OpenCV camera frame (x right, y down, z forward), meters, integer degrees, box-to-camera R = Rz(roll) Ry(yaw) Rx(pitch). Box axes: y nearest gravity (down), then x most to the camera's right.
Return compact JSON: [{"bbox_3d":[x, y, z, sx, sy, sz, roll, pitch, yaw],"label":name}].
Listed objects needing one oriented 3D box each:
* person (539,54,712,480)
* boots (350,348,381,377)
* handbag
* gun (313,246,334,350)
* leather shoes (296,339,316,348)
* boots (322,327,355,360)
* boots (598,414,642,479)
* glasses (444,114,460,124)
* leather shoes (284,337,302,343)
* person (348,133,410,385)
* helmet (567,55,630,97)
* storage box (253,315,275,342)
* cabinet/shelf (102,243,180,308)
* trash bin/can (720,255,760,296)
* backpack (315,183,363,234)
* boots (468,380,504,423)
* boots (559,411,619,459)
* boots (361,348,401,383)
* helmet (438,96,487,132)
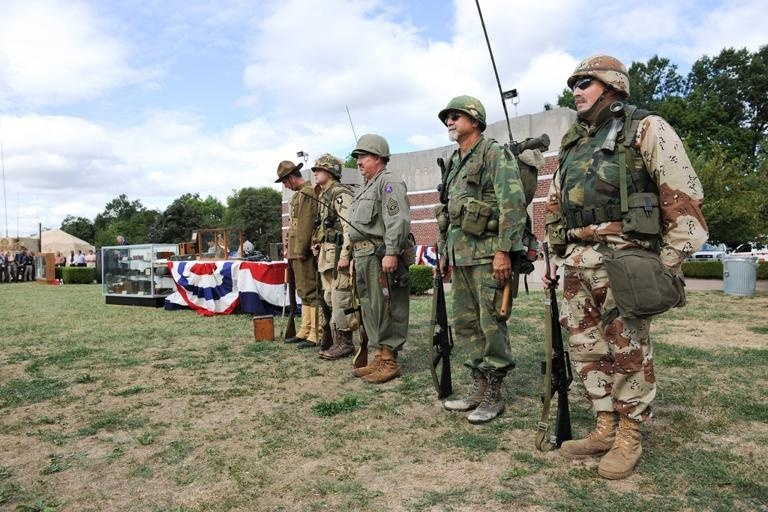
[{"bbox_3d":[2.200,0.034,5.488,1.368,3.871,0.684,0,4,27],"label":"person"},{"bbox_3d":[-0.101,1.427,7.741,0.592,0.404,0.194,12,-11,-43],"label":"boots"},{"bbox_3d":[2.443,0.149,5.338,0.359,0.679,0.643,-21,5,-41],"label":"handbag"},{"bbox_3d":[-0.897,0.585,8.756,0.110,1.539,0.296,8,-18,-44],"label":"gun"},{"bbox_3d":[-1.152,1.321,8.957,0.234,0.085,0.111,9,-10,-42],"label":"leather shoes"},{"bbox_3d":[-0.735,1.280,8.371,0.592,0.437,0.241,0,-8,-39],"label":"boots"},{"bbox_3d":[2.211,1.710,5.441,0.265,0.497,0.714,8,10,34],"label":"boots"},{"bbox_3d":[0.763,-1.512,6.475,0.100,0.081,0.141,-4,1,21],"label":"glasses"},{"bbox_3d":[-1.404,1.291,9.140,0.255,0.098,0.093,8,-8,-25],"label":"leather shoes"},{"bbox_3d":[-0.034,0.000,7.499,0.821,3.096,0.617,-1,4,8],"label":"person"},{"bbox_3d":[2.158,-1.791,5.813,0.607,0.400,0.564,-4,8,-21],"label":"helmet"},{"bbox_3d":[-1.902,1.100,9.410,0.338,0.426,0.426,-3,3,-16],"label":"storage box"},{"bbox_3d":[-6.111,0.474,14.686,1.532,1.324,0.856,0,1,11],"label":"cabinet/shelf"},{"bbox_3d":[8.710,0.499,14.262,0.882,0.909,0.767,4,-3,-16],"label":"trash bin/can"},{"bbox_3d":[-0.604,-0.665,8.257,0.308,0.786,0.761,-3,4,-32],"label":"backpack"},{"bbox_3d":[1.101,1.498,6.310,0.222,0.450,0.627,5,13,35],"label":"boots"},{"bbox_3d":[1.984,1.697,5.637,0.602,0.424,0.227,1,1,1],"label":"boots"},{"bbox_3d":[-0.032,1.381,7.459,0.587,0.417,0.204,-1,-11,-41],"label":"boots"},{"bbox_3d":[0.937,-1.585,6.570,0.508,0.413,0.384,-1,6,-12],"label":"helmet"}]
